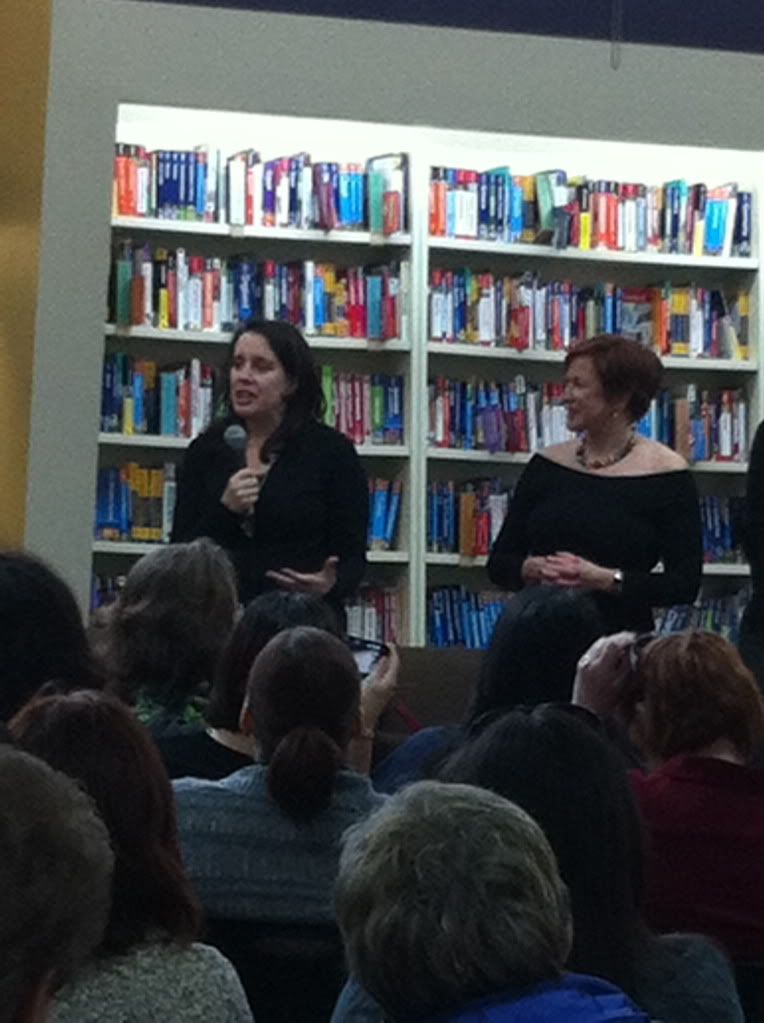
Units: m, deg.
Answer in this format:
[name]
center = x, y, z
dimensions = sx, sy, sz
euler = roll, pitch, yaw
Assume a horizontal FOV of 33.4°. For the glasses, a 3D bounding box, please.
[glasses]
center = 0.148, 0.213, 1.324
dimensions = 0.096, 0.043, 0.080
euler = -13, -5, 26
